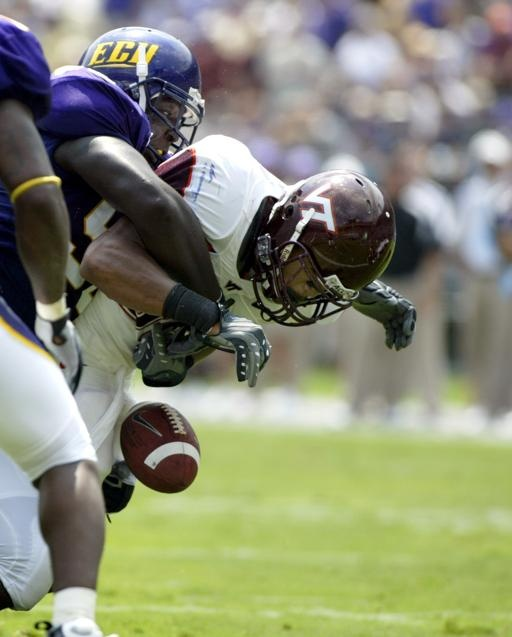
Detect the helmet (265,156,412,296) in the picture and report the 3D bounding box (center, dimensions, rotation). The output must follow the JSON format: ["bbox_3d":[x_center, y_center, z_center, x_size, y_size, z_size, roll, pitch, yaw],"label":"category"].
[{"bbox_3d":[0.138,-0.207,1.797,0.396,0.273,0.261,13,19,10],"label":"helmet"}]

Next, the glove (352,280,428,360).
[{"bbox_3d":[0.381,-0.005,2.174,0.240,0.137,0.071,42,0,5],"label":"glove"}]

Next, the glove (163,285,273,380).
[{"bbox_3d":[-0.071,0.031,1.572,0.251,0.103,0.153,38,5,8],"label":"glove"}]

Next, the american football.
[{"bbox_3d":[-0.211,0.301,1.870,0.236,0.151,0.165,45,-3,11],"label":"american football"}]

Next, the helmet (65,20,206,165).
[{"bbox_3d":[-0.313,-0.610,2.026,0.346,0.277,0.240,11,14,-6],"label":"helmet"}]
